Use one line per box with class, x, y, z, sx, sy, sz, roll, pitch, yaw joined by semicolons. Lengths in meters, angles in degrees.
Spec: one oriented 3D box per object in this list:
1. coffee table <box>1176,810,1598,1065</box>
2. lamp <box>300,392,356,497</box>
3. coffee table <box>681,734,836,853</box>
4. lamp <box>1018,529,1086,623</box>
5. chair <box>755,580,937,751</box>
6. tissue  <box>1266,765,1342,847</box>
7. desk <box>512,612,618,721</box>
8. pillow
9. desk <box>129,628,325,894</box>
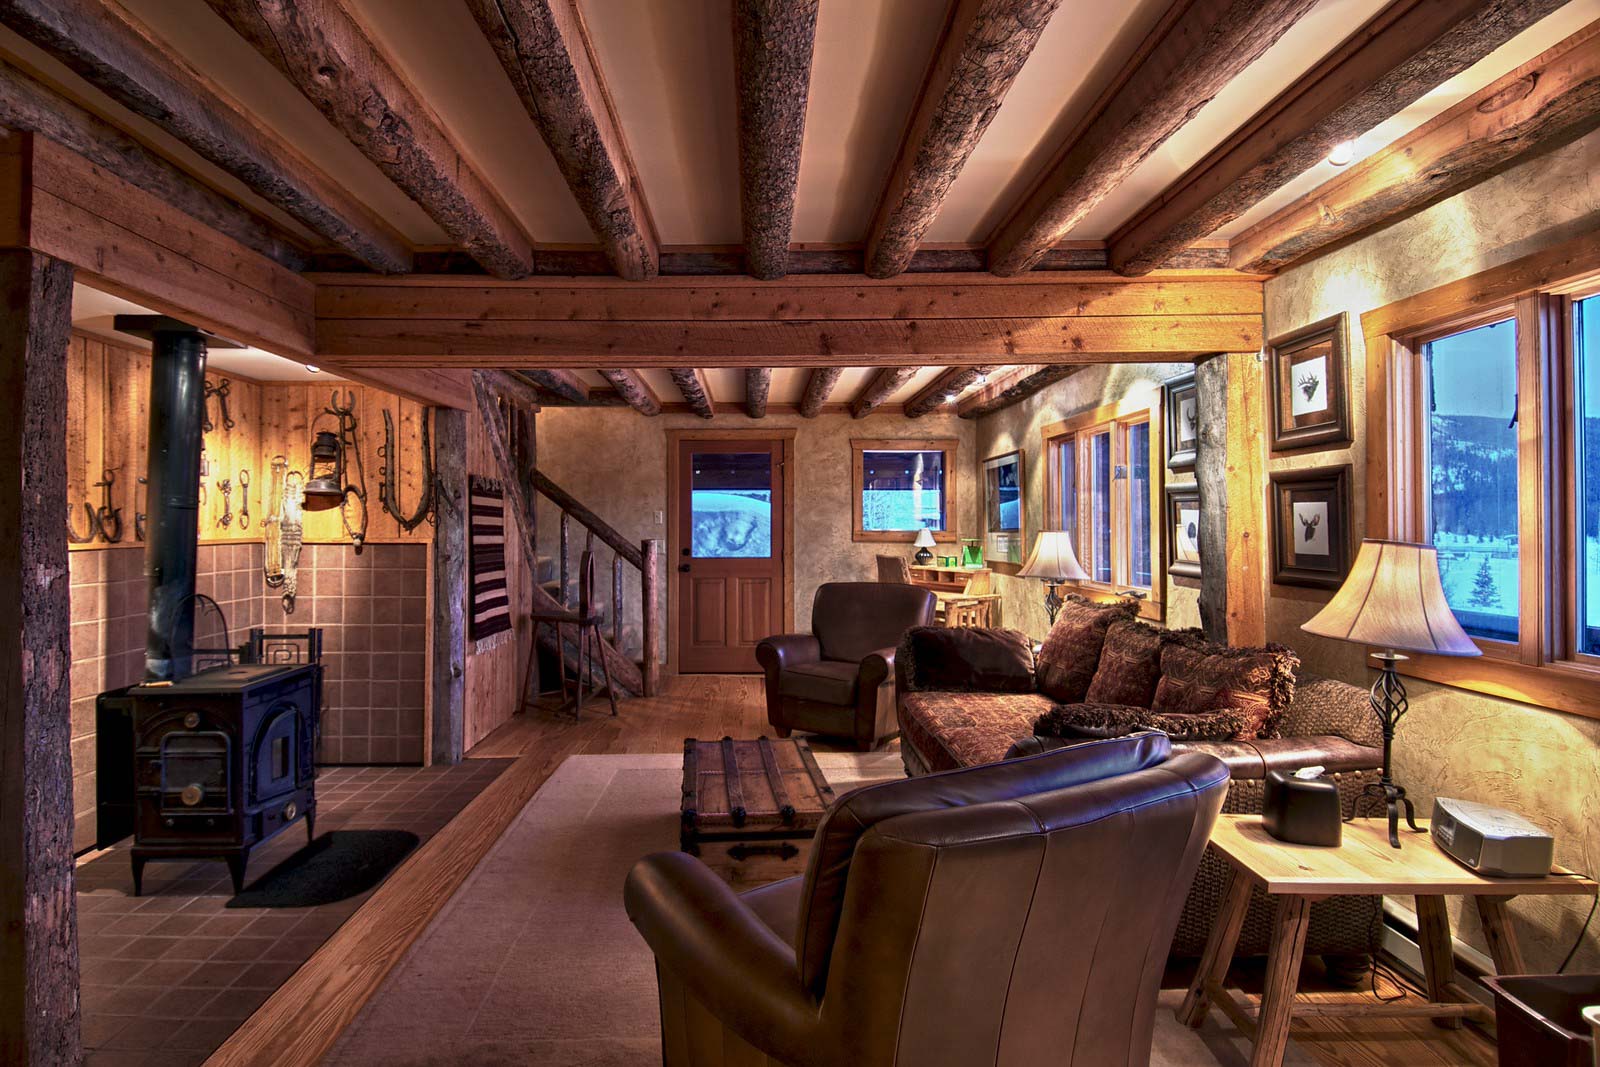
coffee table;2.175;1.392;3.749;1.288;0.720;0.949;-1;-5;3
lamp;-2.954;-0.513;6.169;0.335;0.716;0.187;-7;14;-29
coffee table;-0.225;1.262;4.754;0.687;0.264;1.058;0;7;-9
lamp;1.625;0.271;6.273;0.431;0.608;0.424;-3;10;-7
chair;0.358;0.867;6.863;0.982;1.005;1.137;-4;6;-44
tissue ;1.861;0.997;3.672;0.298;0.264;0.250;0;-6;4
desk;-1.897;0.988;7.902;0.861;1.001;0.651;2;-6;-7
pillow;1.534;0.710;4.535;1.103;0.485;1.112;-3;12;-15
desk;-2.949;1.132;5.216;0.622;1.052;1.500;1;-4;-14
